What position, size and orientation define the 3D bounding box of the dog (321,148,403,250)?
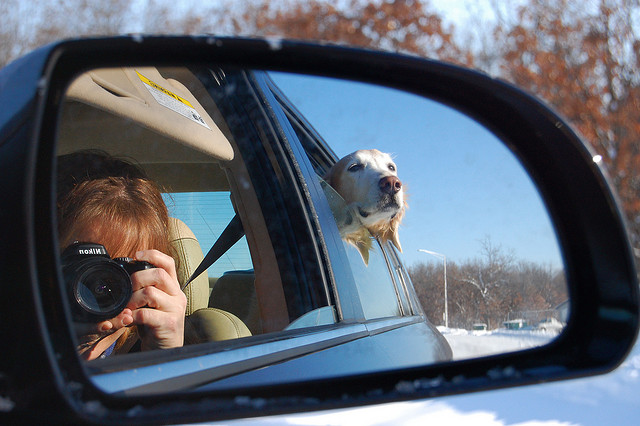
[{"bbox_3d":[0.237,-0.044,2.681,0.365,0.226,0.386,7,-10,1],"label":"dog"}]
